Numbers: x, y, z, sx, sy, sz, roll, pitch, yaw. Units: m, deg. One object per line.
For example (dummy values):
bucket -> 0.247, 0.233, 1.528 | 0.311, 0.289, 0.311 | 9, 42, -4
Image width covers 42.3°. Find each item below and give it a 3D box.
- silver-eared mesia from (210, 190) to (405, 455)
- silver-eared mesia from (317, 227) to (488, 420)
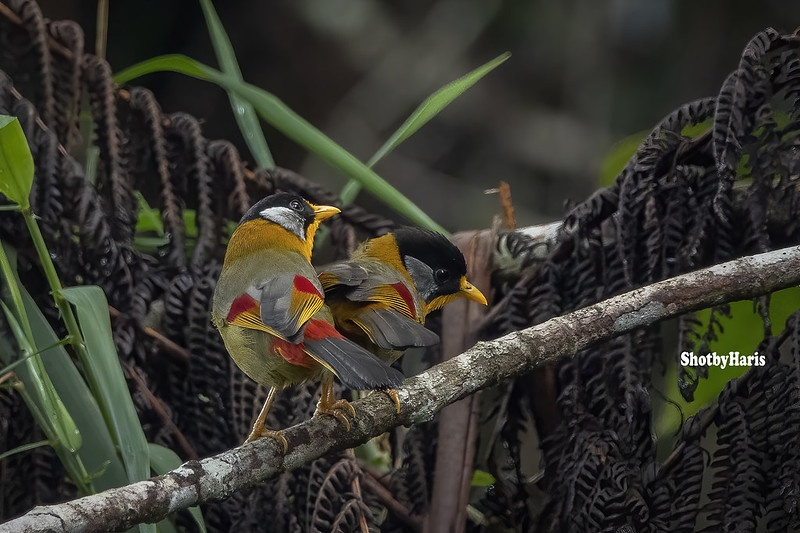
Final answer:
silver-eared mesia -> -0.424, 0.115, 3.676 | 0.566, 0.821, 0.991 | -6, 5, -18
silver-eared mesia -> -0.116, 0.134, 4.004 | 0.815, 0.613, 0.568 | 13, -8, -25
